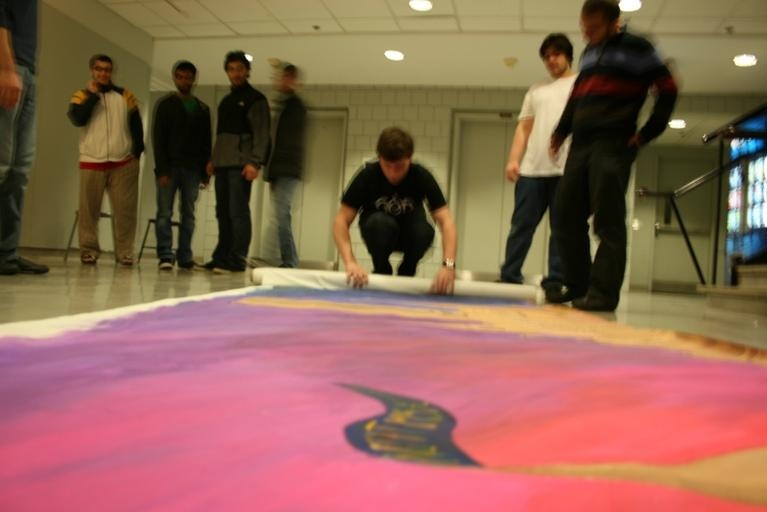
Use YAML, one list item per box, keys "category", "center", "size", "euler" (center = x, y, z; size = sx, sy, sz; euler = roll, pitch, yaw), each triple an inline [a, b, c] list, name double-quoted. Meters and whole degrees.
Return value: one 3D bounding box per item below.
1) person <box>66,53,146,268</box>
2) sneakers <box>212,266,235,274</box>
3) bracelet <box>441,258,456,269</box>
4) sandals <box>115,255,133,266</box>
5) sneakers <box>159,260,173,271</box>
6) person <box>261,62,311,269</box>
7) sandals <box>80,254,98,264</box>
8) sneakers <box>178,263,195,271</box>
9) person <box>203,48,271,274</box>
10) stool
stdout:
- category: "person"
  center: [-1.853, -0.656, 3.658]
  size: [0.445, 1.420, 0.470]
  euler: [0, 6, -30]
- category: "sneakers"
  center: [-1.028, 0.090, 3.498]
  size: [0.128, 0.051, 0.047]
  euler: [6, -6, -5]
- category: "bracelet"
  center: [0.236, 0.027, 1.966]
  size: [0.038, 0.040, 0.042]
  euler: [9, 18, 31]
- category: "sandals"
  center: [-1.724, 0.024, 3.635]
  size: [0.053, 0.060, 0.152]
  euler: [0, -5, -36]
- category: "sneakers"
  center: [-1.433, 0.057, 3.573]
  size: [0.072, 0.059, 0.133]
  euler: [1, 13, -18]
- category: "person"
  center: [-0.616, -0.561, 3.386]
  size: [0.237, 1.239, 0.253]
  euler: [2, 5, -9]
- category: "sandals"
  center: [-1.913, 0.023, 3.535]
  size: [0.050, 0.057, 0.134]
  euler: [1, -9, -11]
- category: "sneakers"
  center: [-1.337, 0.078, 3.703]
  size: [0.109, 0.047, 0.058]
  euler: [-2, 1, 24]
- category: "person"
  center: [-0.945, -0.595, 3.498]
  size: [0.438, 1.419, 0.318]
  euler: [3, 5, 2]
- category: "stool"
  center: [-2.089, -0.143, 4.274]
  size: [0.532, 0.255, 0.339]
  euler: [10, 22, -13]
